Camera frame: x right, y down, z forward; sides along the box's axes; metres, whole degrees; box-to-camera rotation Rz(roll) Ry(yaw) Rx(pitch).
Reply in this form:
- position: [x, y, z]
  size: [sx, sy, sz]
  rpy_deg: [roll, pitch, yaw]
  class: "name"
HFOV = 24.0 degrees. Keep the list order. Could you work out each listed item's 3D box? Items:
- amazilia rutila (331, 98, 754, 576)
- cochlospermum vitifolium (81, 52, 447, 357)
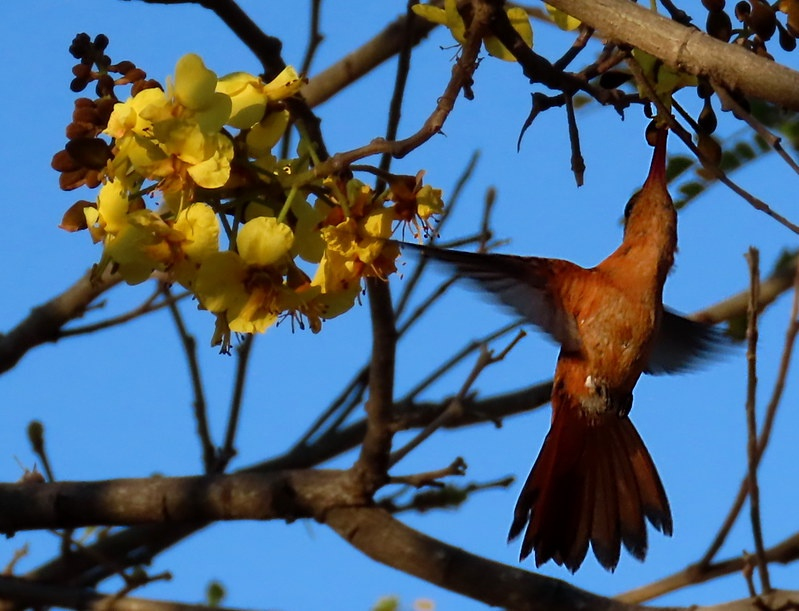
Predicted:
- position: [0.351, 0.034, 3.769]
  size: [0.616, 0.469, 0.953]
  rpy_deg: [0, -81, 7]
  class: "amazilia rutila"
- position: [-0.245, -0.167, 3.360]
  size: [0.619, 0.359, 0.412]
  rpy_deg: [10, -46, -13]
  class: "cochlospermum vitifolium"
